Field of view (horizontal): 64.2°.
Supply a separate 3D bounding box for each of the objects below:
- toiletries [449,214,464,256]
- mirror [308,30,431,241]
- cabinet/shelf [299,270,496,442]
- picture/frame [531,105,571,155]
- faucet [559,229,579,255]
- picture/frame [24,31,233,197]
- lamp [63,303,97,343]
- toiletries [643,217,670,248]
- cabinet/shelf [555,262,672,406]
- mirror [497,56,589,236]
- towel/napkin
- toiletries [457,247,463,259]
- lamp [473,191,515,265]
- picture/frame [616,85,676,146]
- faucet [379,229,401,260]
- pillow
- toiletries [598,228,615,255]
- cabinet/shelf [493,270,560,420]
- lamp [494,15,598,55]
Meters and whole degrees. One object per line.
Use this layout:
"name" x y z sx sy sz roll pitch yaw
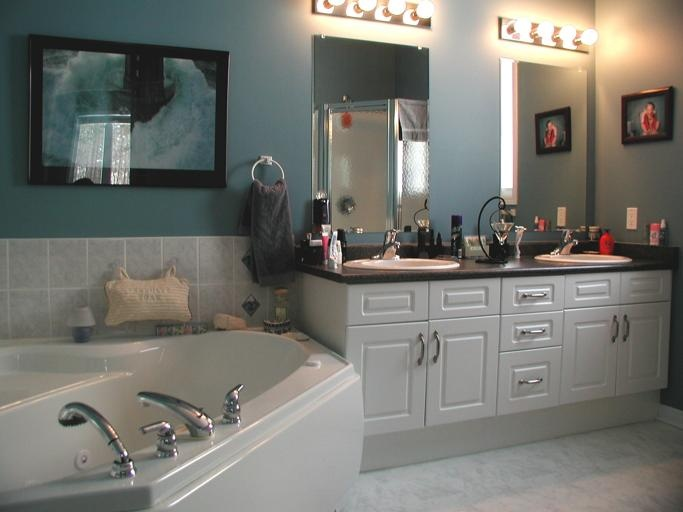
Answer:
"toiletries" 0.777 -0.136 3.632 0.094 0.259 0.215 3 15 12
"mirror" 0.197 -0.781 3.534 0.785 1.210 0.368 -1 14 -6
"cabinet/shelf" 0.360 0.510 3.227 1.073 0.849 0.637 1 1 -28
"picture/frame" 1.500 -0.909 3.917 0.330 0.457 0.044 -1 3 -11
"faucet" 1.612 -0.094 3.841 0.096 0.202 0.411 7 16 26
"picture/frame" -1.267 -0.822 3.105 0.902 0.714 0.020 -1 3 -16
"lamp" -1.415 0.372 2.958 0.158 0.203 0.170 2 -3 -11
"toiletries" 2.104 -0.156 3.619 0.065 0.178 0.158 -6 16 -24
"cabinet/shelf" 1.689 0.467 3.554 0.754 0.789 0.456 -3 8 -3
"mirror" 1.467 -0.800 3.921 0.733 1.159 0.252 -3 14 -13
"towel/napkin" -0.443 -0.148 3.299 0.329 0.613 0.234 -3 14 -12
"toiletries" 0.782 -0.008 3.581 0.044 0.098 0.050 2 10 9
"lamp" 1.020 -0.171 3.608 0.260 0.425 0.683 5 15 17
"picture/frame" 2.066 -0.942 3.655 0.037 0.520 0.449 0 0 -30
"faucet" 0.282 -0.064 3.434 0.168 0.270 0.145 -1 2 -4
"pillow" -1.126 0.238 3.092 0.321 0.257 0.074 -1 -1 -20
"toiletries" 1.905 -0.101 3.883 0.104 0.168 0.181 7 16 26
"cabinet/shelf" 1.104 0.502 3.150 0.482 0.763 0.146 -5 15 -19
"lamp" 1.499 -1.563 3.844 0.815 0.223 0.185 -3 15 -15
